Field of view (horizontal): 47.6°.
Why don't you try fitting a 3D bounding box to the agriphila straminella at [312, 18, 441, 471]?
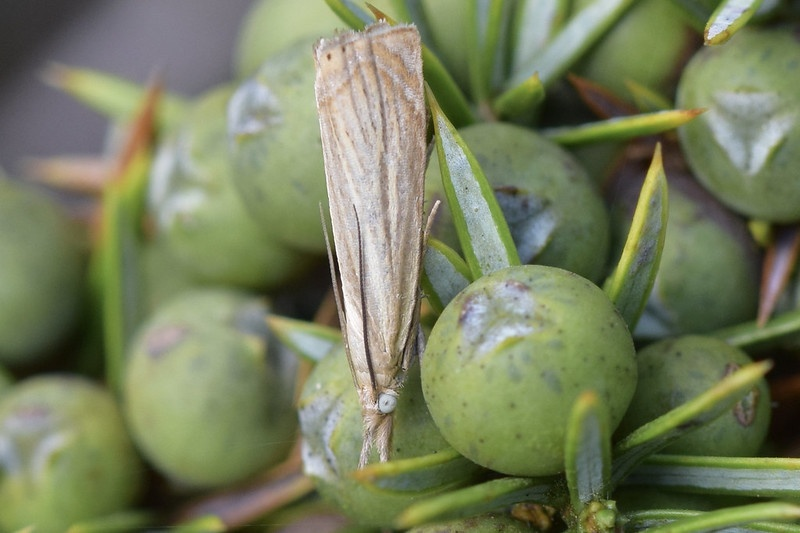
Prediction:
[{"bbox_3d":[-0.020,-0.028,0.743,0.100,0.071,0.371,-1,93,9],"label":"agriphila straminella"}]
